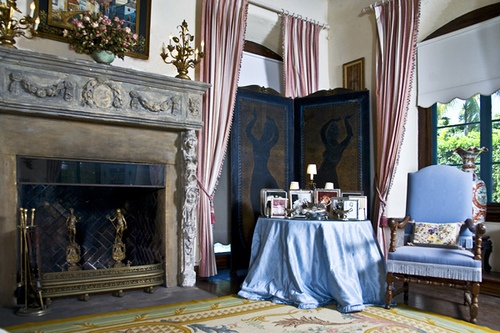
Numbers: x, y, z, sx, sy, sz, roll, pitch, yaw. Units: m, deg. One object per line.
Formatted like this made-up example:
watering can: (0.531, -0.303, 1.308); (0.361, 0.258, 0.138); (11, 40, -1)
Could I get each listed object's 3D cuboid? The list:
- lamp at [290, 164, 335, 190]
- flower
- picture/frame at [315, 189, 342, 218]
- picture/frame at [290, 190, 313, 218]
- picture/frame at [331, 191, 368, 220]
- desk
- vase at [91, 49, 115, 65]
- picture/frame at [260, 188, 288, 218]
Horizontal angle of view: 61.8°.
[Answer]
lamp: (0.920, 0.163, 6.125); (0.460, 0.363, 0.471); (1, 2, 43)
flower: (-1.836, -1.618, 5.195); (0.699, 0.684, 0.519); (13, -53, -32)
picture/frame: (0.998, 0.481, 5.238); (0.308, 0.354, 0.048); (0, -17, 7)
picture/frame: (0.667, 0.475, 5.389); (0.312, 0.330, 0.276); (0, 4, -2)
picture/frame: (1.204, 0.501, 5.056); (0.439, 0.273, 0.242); (0, 4, -1)
desk: (0.815, 0.991, 5.521); (1.819, 0.952, 1.982); (-9, 12, 4)
vase: (-1.820, -1.372, 5.196); (0.172, 0.121, 0.180); (3, 12, -7)
picture/frame: (0.324, 0.491, 5.448); (0.314, 0.323, 0.112); (-1, -5, -2)
